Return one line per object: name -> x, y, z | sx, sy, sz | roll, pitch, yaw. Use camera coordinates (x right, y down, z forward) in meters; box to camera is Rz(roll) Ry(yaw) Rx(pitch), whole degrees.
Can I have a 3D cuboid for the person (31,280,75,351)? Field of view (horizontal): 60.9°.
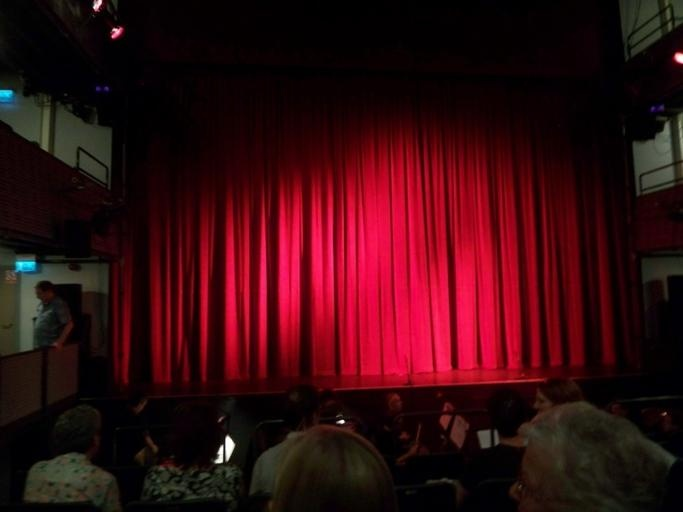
person -> -3.513, 0.705, 7.084 | 0.397, 0.810, 0.740 | 2, -6, -28
